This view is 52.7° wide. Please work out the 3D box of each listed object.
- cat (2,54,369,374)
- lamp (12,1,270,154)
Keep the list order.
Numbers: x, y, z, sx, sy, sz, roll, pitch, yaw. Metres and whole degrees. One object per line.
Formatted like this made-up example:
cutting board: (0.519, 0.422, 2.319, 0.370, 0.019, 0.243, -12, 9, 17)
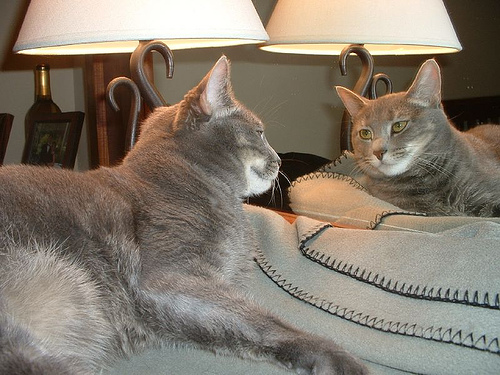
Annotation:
cat: (-0.164, 0.018, 0.946, 0.573, 0.487, 0.598, -4, 18, -14)
lamp: (-0.274, -0.327, 1.321, 0.475, 0.522, 0.484, 0, -2, -5)
